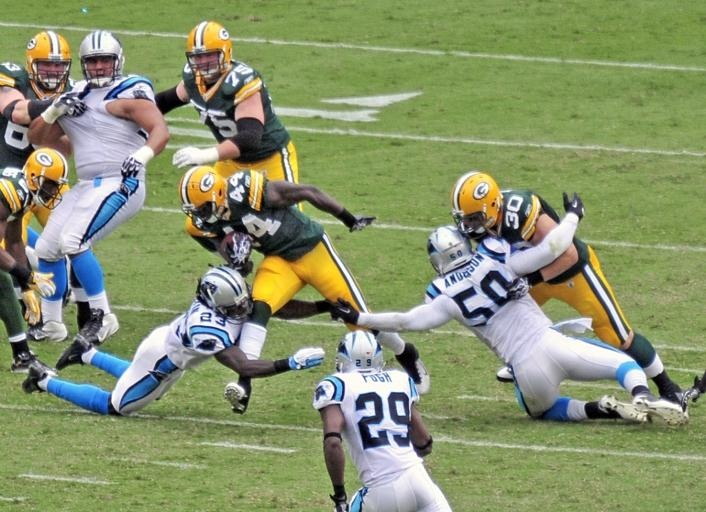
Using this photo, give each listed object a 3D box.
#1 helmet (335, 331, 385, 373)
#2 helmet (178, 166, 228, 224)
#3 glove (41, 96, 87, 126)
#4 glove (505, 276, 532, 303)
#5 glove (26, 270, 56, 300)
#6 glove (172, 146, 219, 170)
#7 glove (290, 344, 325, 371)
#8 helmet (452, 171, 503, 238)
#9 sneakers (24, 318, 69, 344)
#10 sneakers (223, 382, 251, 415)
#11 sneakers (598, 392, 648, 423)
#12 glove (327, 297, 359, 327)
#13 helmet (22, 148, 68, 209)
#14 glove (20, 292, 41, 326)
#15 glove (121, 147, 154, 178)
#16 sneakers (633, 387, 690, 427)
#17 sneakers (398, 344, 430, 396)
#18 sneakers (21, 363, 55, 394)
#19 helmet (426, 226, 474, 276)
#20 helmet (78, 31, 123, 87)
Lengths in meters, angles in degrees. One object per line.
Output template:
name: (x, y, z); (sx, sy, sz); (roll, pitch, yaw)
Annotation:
helmet: (0.040, 0.679, 7.999); (0.271, 0.256, 0.327); (0, 0, -4)
helmet: (-1.274, -0.561, 9.539); (0.433, 0.446, 0.347); (16, 12, -14)
glove: (-2.610, -1.287, 10.078); (0.342, 0.215, 0.162); (-39, -4, 3)
glove: (1.359, 0.272, 9.286); (0.199, 0.137, 0.092); (-36, -9, -1)
glove: (-2.831, 0.229, 10.129); (0.227, 0.249, 0.328); (0, 14, -16)
glove: (-1.390, -0.816, 9.825); (0.418, 0.115, 0.212); (-7, 45, 3)
glove: (-0.363, 0.776, 8.585); (0.255, 0.138, 0.107); (-9, -4, 9)
helmet: (1.044, -0.419, 9.531); (0.428, 0.527, 0.273); (6, 15, 5)
sneakers: (-2.875, 0.702, 10.493); (0.378, 0.151, 0.189); (1, -17, -5)
sneakers: (-0.946, 1.108, 8.954); (0.146, 0.336, 0.164); (5, 48, 16)
sneakers: (2.209, 1.249, 9.212); (0.350, 0.122, 0.202); (14, -1, 7)
glove: (-0.083, 0.482, 9.491); (0.263, 0.104, 0.200); (23, 14, -33)
helmet: (-2.764, -0.682, 10.010); (0.378, 0.520, 0.250); (-3, 17, -28)
glove: (-3.026, 0.467, 10.411); (0.248, 0.336, 0.146); (-3, 14, -6)
glove: (-1.972, -0.840, 10.089); (0.214, 0.313, 0.130); (32, -8, -30)
sneakers: (2.486, 1.247, 9.155); (0.477, 0.203, 0.199); (22, 37, -8)
sneakers: (0.495, 0.963, 9.427); (0.159, 0.435, 0.191); (-39, -5, 21)
sneakers: (-2.663, 1.014, 9.480); (0.247, 0.273, 0.185); (6, 15, 8)
helmet: (0.789, -0.049, 9.503); (0.343, 0.349, 0.435); (-32, 1, -7)
helmet: (-2.276, -1.832, 10.295); (0.425, 0.435, 0.512); (-2, 20, 1)
